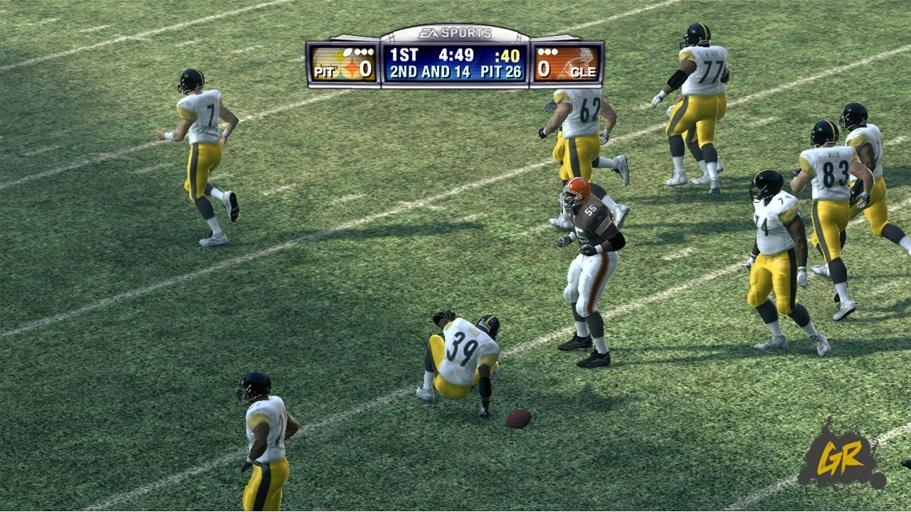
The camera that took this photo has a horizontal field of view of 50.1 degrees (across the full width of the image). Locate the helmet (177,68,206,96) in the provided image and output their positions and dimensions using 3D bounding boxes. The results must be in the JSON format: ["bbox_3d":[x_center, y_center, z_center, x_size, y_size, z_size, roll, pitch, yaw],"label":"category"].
[{"bbox_3d":[-3.942,-2.586,14.487,0.360,0.372,0.311,-15,26,-13],"label":"helmet"}]

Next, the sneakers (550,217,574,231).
[{"bbox_3d":[1.603,-0.487,14.643,0.189,0.105,0.277,14,1,-40],"label":"sneakers"}]

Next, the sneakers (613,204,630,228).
[{"bbox_3d":[2.417,-0.561,14.348,0.335,0.168,0.588,7,-14,4],"label":"sneakers"}]

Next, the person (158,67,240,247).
[{"bbox_3d":[-3.748,-1.475,14.546,1.022,2.571,1.327,-10,27,4],"label":"person"}]

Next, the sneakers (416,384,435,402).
[{"bbox_3d":[-0.369,1.713,12.160,0.178,0.103,0.283,-1,11,-11],"label":"sneakers"}]

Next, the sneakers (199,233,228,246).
[{"bbox_3d":[-3.586,-0.253,14.560,0.531,0.176,0.140,-1,47,-1],"label":"sneakers"}]

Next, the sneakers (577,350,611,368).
[{"bbox_3d":[1.711,1.327,12.556,0.574,0.173,0.162,-2,24,-1],"label":"sneakers"}]

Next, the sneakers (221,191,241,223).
[{"bbox_3d":[-3.332,-0.742,14.668,0.282,0.451,0.222,8,27,42],"label":"sneakers"}]

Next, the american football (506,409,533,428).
[{"bbox_3d":[0.758,1.973,11.842,0.331,0.147,0.195,-16,48,-6],"label":"american football"}]

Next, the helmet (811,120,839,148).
[{"bbox_3d":[4.936,-1.627,13.022,0.319,0.399,0.450,-1,25,18],"label":"helmet"}]

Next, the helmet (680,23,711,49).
[{"bbox_3d":[3.775,-3.441,15.262,0.391,0.370,0.613,-4,22,10],"label":"helmet"}]

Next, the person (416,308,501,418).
[{"bbox_3d":[0.069,1.318,12.046,0.939,1.230,0.664,5,31,29],"label":"person"}]

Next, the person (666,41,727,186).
[{"bbox_3d":[3.775,-2.248,15.263,0.943,2.270,1.124,-2,28,19],"label":"person"}]
